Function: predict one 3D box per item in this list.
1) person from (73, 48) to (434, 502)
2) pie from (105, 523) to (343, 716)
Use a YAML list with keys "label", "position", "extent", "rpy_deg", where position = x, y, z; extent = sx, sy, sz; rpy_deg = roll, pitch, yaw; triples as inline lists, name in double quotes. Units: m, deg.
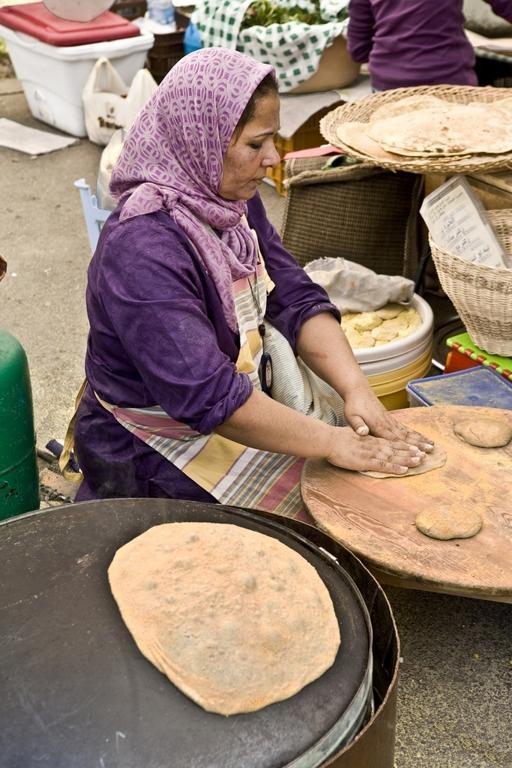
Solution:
- label: "person"
  position: [-0.108, -0.126, 1.745]
  extent: [0.828, 1.169, 0.791]
  rpy_deg: [-7, 34, -24]
- label: "pie"
  position: [-0.059, 0.336, 1.010]
  extent: [0.200, 0.026, 0.244]
  rpy_deg: [-13, 30, -27]
